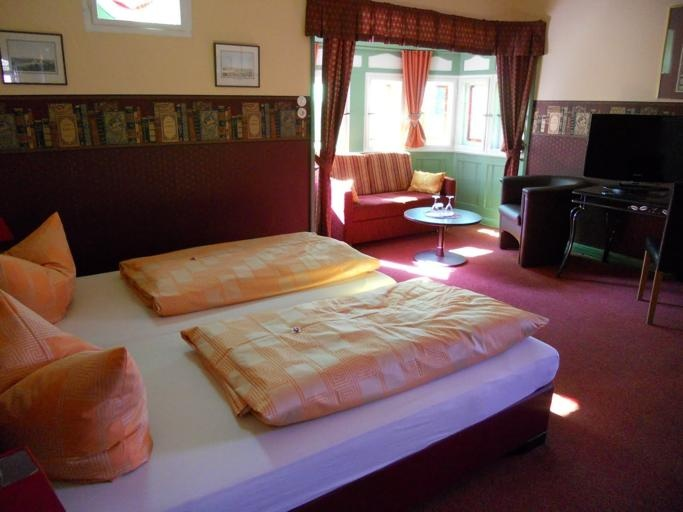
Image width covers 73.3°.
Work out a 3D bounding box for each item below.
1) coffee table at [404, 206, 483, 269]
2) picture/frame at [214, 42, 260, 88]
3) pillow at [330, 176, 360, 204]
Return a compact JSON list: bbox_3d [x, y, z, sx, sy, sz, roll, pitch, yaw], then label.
[{"bbox_3d":[1.181,-0.294,5.469,0.723,0.495,0.772,0,22,0],"label":"coffee table"},{"bbox_3d":[-1.006,-1.797,4.308,0.433,0.398,0.041,-5,7,-38],"label":"picture/frame"},{"bbox_3d":[0.042,-0.848,5.819,0.333,0.286,0.329,-2,9,-21],"label":"pillow"}]
